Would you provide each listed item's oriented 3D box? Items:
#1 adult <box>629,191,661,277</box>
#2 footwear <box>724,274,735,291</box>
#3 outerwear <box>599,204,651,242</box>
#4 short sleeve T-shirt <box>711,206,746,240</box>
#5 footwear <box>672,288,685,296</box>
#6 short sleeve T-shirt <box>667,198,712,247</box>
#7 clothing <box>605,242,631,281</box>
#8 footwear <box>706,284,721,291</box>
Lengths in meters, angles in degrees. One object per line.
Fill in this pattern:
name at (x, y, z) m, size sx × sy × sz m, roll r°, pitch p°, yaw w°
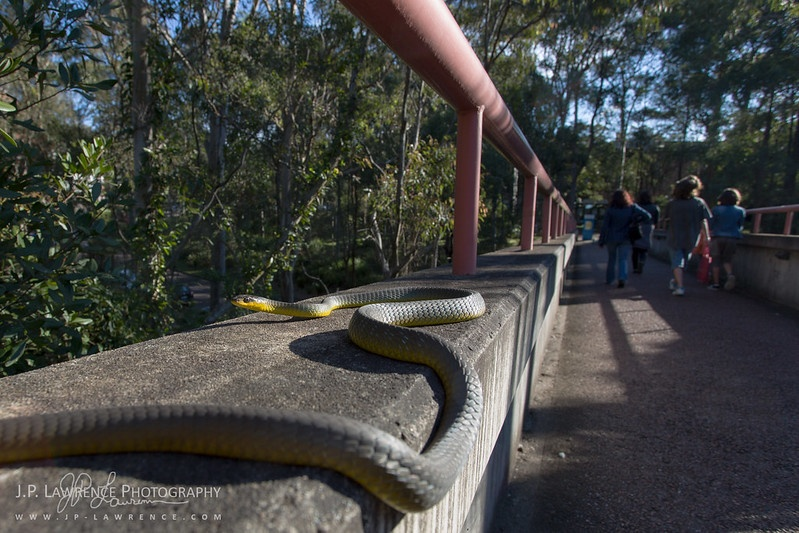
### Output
adult at (5.694, -0.780, 13.505) m, size 0.557 × 1.887 × 0.662 m, roll 6°, pitch 5°, yaw 28°
footwear at (6.497, 0.330, 11.409) m, size 0.167 × 0.360 × 0.149 m, roll 9°, pitch 25°, yaw 26°
outerwear at (4.740, -0.831, 12.156) m, size 0.943 × 0.927 × 0.434 m, roll 3°, pitch -12°, yaw 21°
short sleeve T-shirt at (6.544, -0.872, 11.577) m, size 0.601 × 0.690 × 0.359 m, roll 1°, pitch 8°, yaw 26°
footwear at (5.298, 0.483, 11.013) m, size 0.119 × 0.159 × 0.339 m, roll -8°, pitch 6°, yaw 6°
short sleeve T-shirt at (5.649, -0.758, 11.438) m, size 0.945 × 1.215 × 0.426 m, roll -5°, pitch -24°, yaw 34°
clothing at (4.600, -0.118, 12.213) m, size 0.504 × 1.107 × 0.357 m, roll 1°, pitch -18°, yaw 21°
footwear at (6.363, 0.428, 11.703) m, size 0.108 × 0.131 × 0.279 m, roll 0°, pitch 8°, yaw 9°
